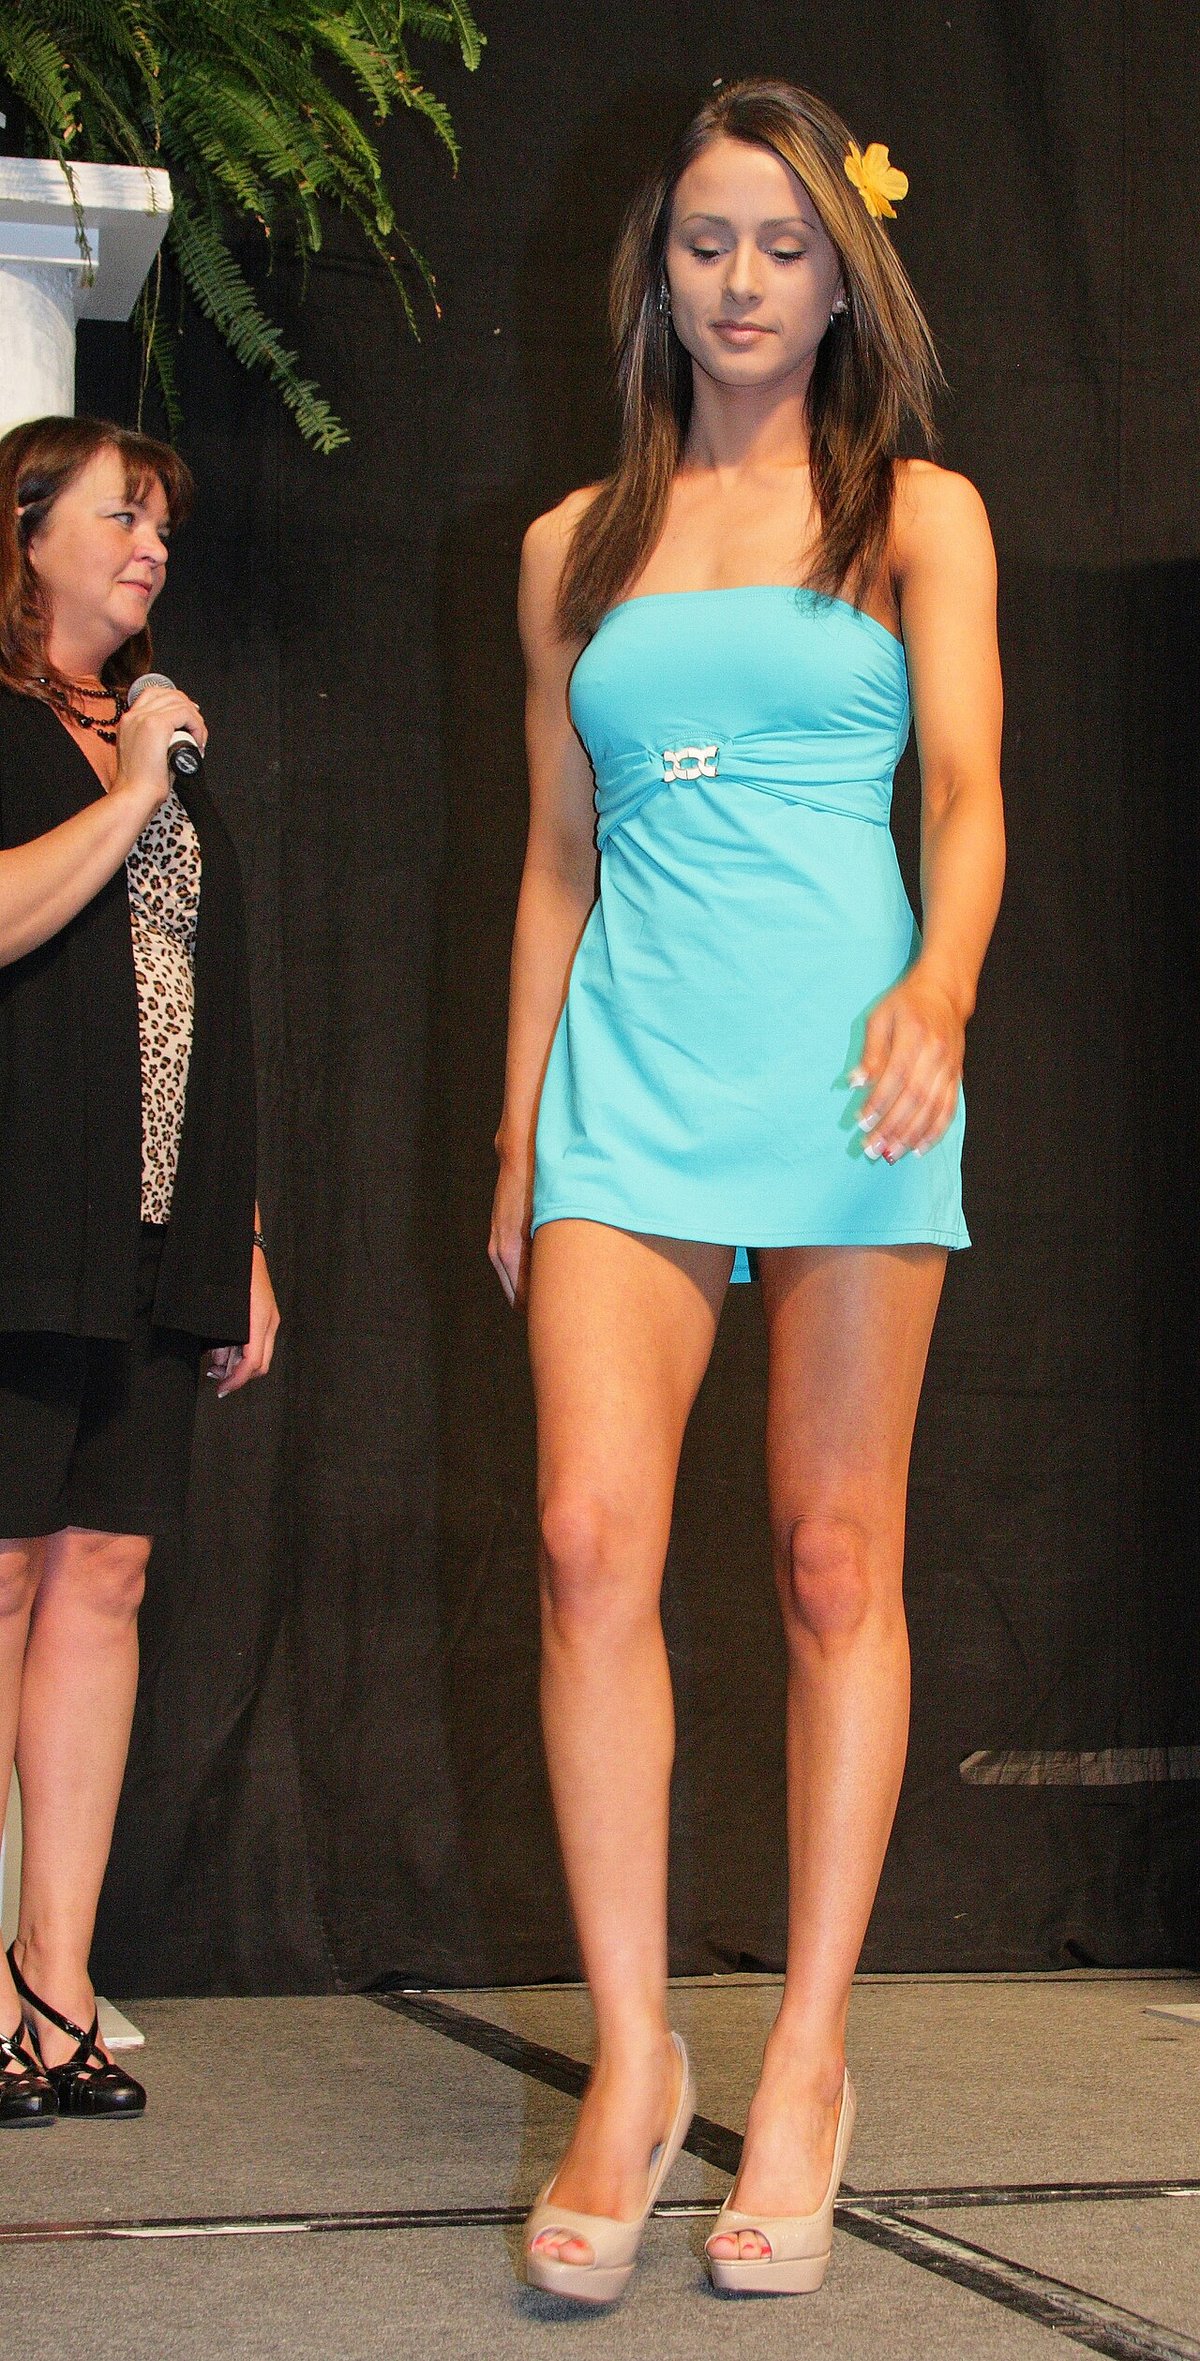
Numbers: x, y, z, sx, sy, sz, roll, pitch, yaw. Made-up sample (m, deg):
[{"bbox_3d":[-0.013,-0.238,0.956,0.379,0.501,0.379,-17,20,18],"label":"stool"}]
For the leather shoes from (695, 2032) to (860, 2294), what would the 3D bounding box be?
[{"bbox_3d":[0.107,0.634,1.389,0.044,0.045,0.150,2,14,13],"label":"leather shoes"}]

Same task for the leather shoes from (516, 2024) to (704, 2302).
[{"bbox_3d":[0.012,0.628,1.361,0.059,0.062,0.189,8,37,18],"label":"leather shoes"}]

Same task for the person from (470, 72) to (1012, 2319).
[{"bbox_3d":[0.094,-0.071,1.518,0.344,1.453,0.502,6,1,-7],"label":"person"}]

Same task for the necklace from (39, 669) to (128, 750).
[{"bbox_3d":[-0.480,-0.441,2.017,0.062,0.024,0.080,31,8,-10],"label":"necklace"}]

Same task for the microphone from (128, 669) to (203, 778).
[{"bbox_3d":[-0.396,-0.414,1.974,0.067,0.082,0.223,6,2,-13],"label":"microphone"}]
